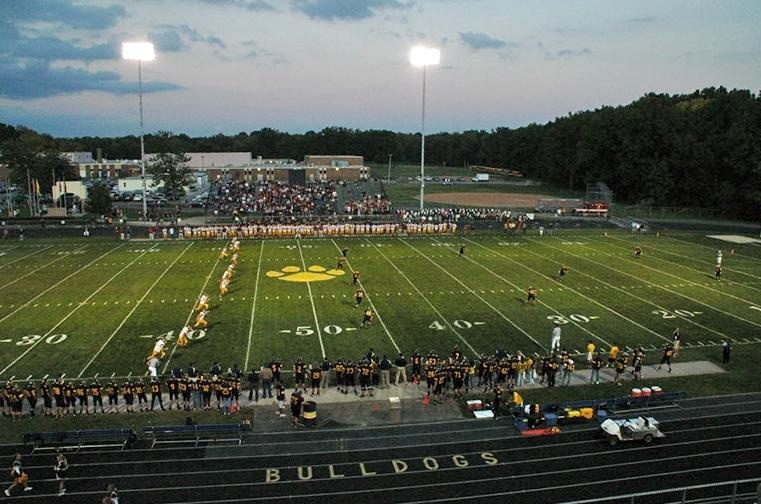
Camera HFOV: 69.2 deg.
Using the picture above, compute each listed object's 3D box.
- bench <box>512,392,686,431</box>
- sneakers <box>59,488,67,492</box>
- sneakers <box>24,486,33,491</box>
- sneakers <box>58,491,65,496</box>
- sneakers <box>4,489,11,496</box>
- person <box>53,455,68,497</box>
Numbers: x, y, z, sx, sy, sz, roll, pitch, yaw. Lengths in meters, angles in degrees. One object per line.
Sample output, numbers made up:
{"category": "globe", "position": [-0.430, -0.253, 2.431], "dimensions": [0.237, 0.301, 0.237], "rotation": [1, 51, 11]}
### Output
{"category": "bench", "position": [9.647, 6.983, 23.933], "dimensions": [6.365, 0.850, 0.973], "rotation": [-3, 11, -10]}
{"category": "sneakers", "position": [-11.317, 8.533, 19.720], "dimensions": [0.083, 0.076, 0.204], "rotation": [6, 6, -3]}
{"category": "sneakers", "position": [-12.634, 8.526, 19.793], "dimensions": [0.283, 0.099, 0.094], "rotation": [-2, 21, -30]}
{"category": "sneakers", "position": [-11.314, 8.588, 19.599], "dimensions": [0.215, 0.147, 0.181], "rotation": [-8, 10, -26]}
{"category": "sneakers", "position": [-13.176, 8.531, 19.504], "dimensions": [0.140, 0.307, 0.105], "rotation": [-36, -26, -7]}
{"category": "person", "position": [-11.474, 7.903, 19.781], "dimensions": [0.441, 1.458, 0.855], "rotation": [-11, 12, -33]}
